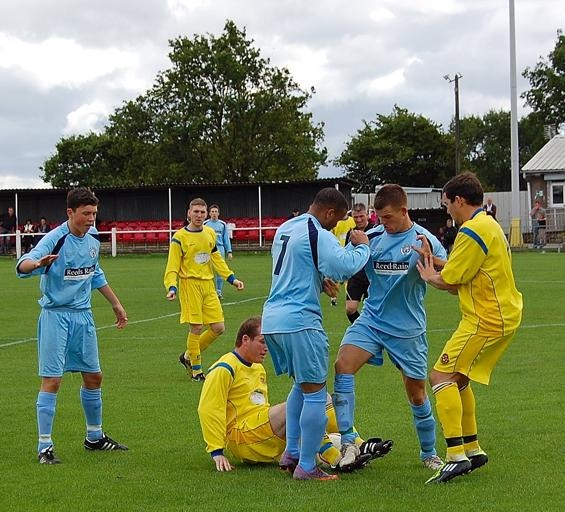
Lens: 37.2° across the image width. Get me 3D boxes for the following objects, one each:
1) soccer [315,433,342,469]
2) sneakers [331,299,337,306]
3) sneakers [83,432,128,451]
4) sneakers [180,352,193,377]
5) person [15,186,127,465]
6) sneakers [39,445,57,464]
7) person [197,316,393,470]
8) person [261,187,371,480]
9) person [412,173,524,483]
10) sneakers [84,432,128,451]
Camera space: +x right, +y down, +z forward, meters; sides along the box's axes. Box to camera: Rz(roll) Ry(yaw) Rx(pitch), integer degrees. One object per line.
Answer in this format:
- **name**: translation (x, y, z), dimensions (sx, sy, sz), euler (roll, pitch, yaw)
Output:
- **soccer**: translation (0.358, 1.396, 6.177), dimensions (0.098, 0.150, 0.323), euler (7, 5, 6)
- **sneakers**: translation (0.969, 0.838, 15.599), dimensions (0.122, 0.099, 0.160), euler (-5, -17, 1)
- **sneakers**: translation (-1.390, 1.432, 6.670), dimensions (0.379, 0.165, 0.133), euler (4, 0, 1)
- **sneakers**: translation (-1.054, 1.160, 9.184), dimensions (0.097, 0.205, 0.323), euler (-1, 0, -16)
- **person**: translation (-1.672, 0.492, 6.522), dimensions (0.733, 1.889, 0.427), euler (-2, 1, -39)
- **sneakers**: translation (-1.751, 1.469, 6.272), dimensions (0.147, 0.115, 0.140), euler (-1, 0, -18)
- **person**: translation (0.116, 1.068, 6.446), dimensions (1.312, 1.115, 0.887), euler (0, -5, 4)
- **person**: translation (0.228, 0.525, 5.893), dimensions (0.755, 1.466, 0.464), euler (-1, 1, 3)
- **person**: translation (1.315, 0.452, 5.915), dimensions (0.699, 2.129, 0.628), euler (-1, 1, 21)
- **sneakers**: translation (-1.400, 1.466, 6.670), dimensions (0.379, 0.165, 0.133), euler (4, 0, 1)
